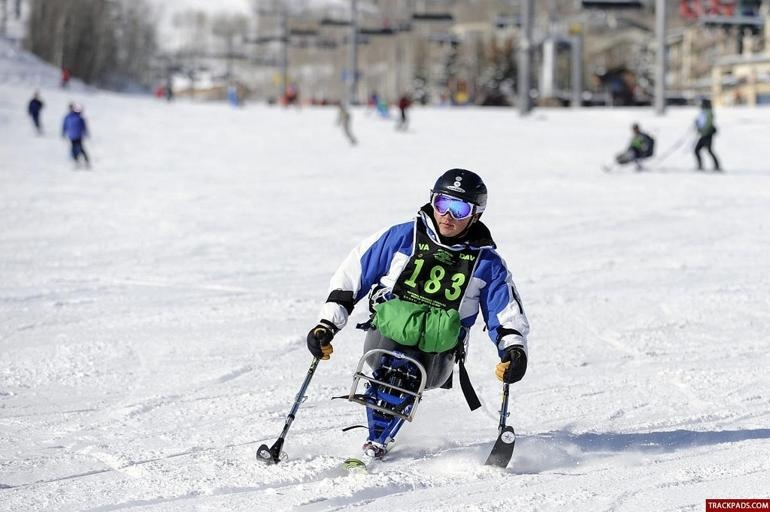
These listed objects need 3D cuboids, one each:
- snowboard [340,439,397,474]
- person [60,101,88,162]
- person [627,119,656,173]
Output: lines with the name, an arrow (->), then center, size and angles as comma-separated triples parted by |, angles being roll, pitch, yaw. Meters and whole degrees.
snowboard -> -0.232, 2.334, 12.193 | 0.350, 0.268, 0.674 | -19, -26, -31
person -> -7.179, -2.744, 24.172 | 0.700, 0.498, 1.833 | 10, -14, -12
person -> 6.217, -2.592, 25.419 | 0.572, 1.130, 2.252 | 3, 7, 14
